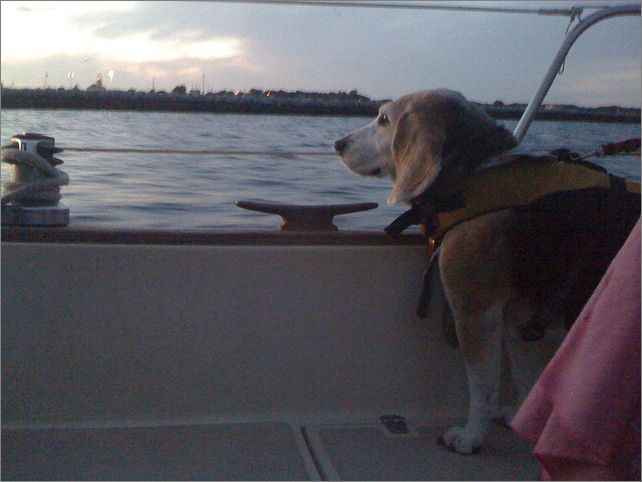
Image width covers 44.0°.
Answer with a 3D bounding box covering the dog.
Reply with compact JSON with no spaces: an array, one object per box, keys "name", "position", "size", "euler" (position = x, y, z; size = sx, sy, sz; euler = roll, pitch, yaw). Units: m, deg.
[{"name":"dog","position":[0.705,0.141,3.129],"size":[0.951,1.417,0.406],"euler":[3,20,3]}]
